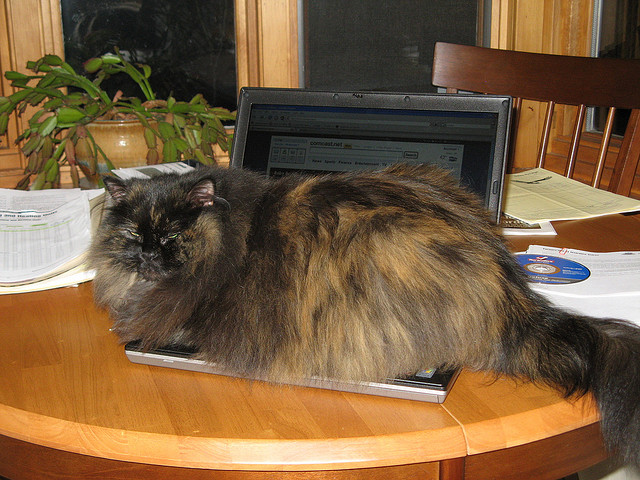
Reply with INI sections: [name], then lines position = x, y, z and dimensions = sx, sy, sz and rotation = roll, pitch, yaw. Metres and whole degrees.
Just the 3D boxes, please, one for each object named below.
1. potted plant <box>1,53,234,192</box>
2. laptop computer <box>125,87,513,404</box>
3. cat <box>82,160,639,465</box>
[potted plant]
position = -0.718, -0.396, 1.717
dimensions = 0.879, 0.297, 0.657
rotation = 10, 24, 6
[laptop computer]
position = 0.020, -0.097, 1.011
dimensions = 0.778, 0.358, 0.583
rotation = 2, 18, 3
[cat]
position = 0.010, 0.071, 0.844
dimensions = 0.888, 0.265, 0.381
rotation = 5, 11, 4
